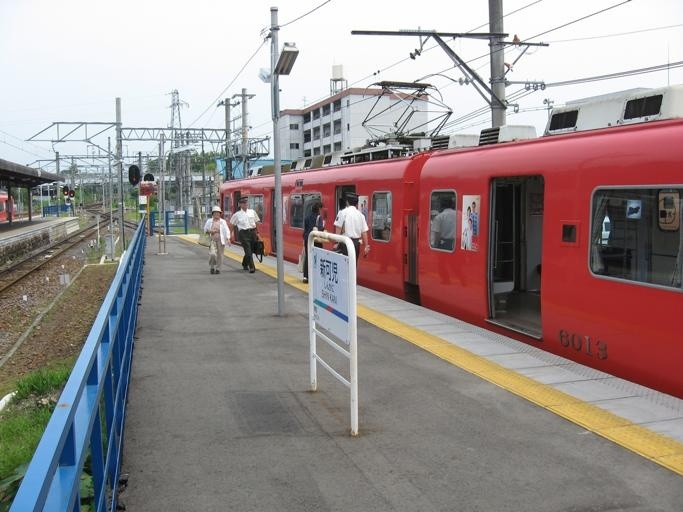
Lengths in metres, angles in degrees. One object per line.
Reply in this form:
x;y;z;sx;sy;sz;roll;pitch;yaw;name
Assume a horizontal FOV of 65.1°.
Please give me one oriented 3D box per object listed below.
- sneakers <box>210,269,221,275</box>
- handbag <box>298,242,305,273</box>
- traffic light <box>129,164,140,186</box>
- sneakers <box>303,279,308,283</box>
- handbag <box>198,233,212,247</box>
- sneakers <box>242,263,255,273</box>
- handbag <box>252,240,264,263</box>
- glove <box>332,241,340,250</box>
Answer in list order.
-3.878;0.480;16.351;0.117;0.158;0.350;-1;0;-34;sneakers
-1.142;0.054;15.274;0.227;1.270;0.535;-2;21;-9;handbag
-8.732;-3.391;22.537;0.412;0.890;1.456;-3;7;-22;traffic light
-0.962;0.665;14.074;0.085;0.136;0.131;-1;9;-24;sneakers
-4.229;-0.528;16.672;0.308;0.456;0.113;-4;-9;11;handbag
-2.838;0.409;16.565;0.190;0.279;0.649;0;-2;-35;sneakers
-2.641;-0.127;17.196;0.241;0.774;0.443;-2;-7;-16;handbag
-0.084;-0.205;11.405;0.246;0.151;0.172;2;-7;31;glove
